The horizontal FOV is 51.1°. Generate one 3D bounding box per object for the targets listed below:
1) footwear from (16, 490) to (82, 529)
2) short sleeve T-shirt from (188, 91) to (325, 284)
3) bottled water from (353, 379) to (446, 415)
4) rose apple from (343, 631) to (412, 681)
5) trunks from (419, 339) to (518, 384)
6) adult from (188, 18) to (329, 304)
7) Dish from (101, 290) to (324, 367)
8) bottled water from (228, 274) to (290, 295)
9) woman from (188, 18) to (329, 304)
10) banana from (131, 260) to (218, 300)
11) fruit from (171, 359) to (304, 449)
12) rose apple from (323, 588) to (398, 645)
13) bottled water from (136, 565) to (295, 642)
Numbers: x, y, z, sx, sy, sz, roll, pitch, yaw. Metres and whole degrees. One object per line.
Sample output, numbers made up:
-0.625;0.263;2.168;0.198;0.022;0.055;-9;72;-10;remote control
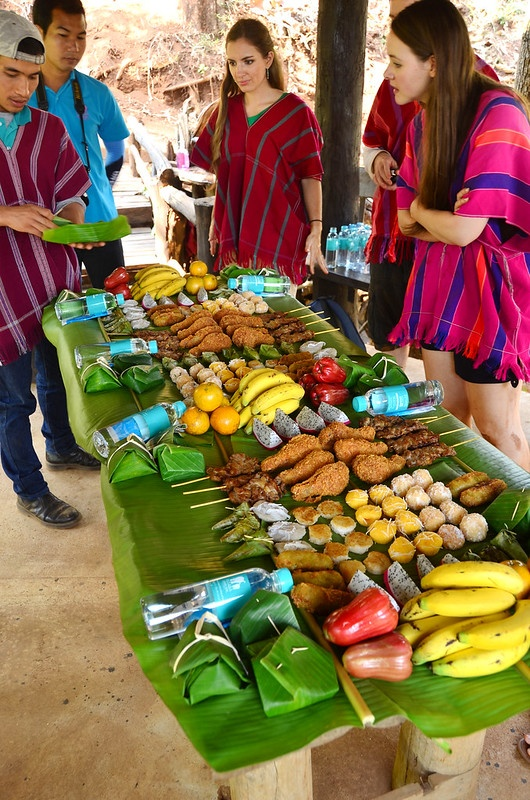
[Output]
-1.188;0.598;3.154;0.387;0.174;0.163;16;30;20;footwear
-0.112;-1.251;3.649;0.867;1.622;0.421;6;7;7;short sleeve T-shirt
0.430;-0.011;1.823;0.365;0.116;0.114;-8;10;-30;bottled water
0.179;0.422;0.906;0.107;0.065;0.063;-5;14;5;rose apple
0.862;-0.149;2.222;0.139;0.140;0.177;-16;12;-40;trunks
0.015;-1.477;3.465;0.849;1.480;0.480;9;24;10;adult
-0.212;-0.289;2.333;0.606;0.090;0.417;-1;27;-6;Dish
-0.024;-0.591;2.813;0.281;0.099;0.126;1;17;-9;bottled water
0.014;-1.477;3.465;0.846;1.480;0.480;9;24;10;woman
-0.460;-0.605;2.813;0.375;0.131;0.235;-12;22;-19;banana
-0.074;0.000;1.784;0.318;0.088;0.312;-10;24;-10;fruit
0.176;0.381;0.988;0.133;0.077;0.075;-18;24;-7;rose apple
-0.065;0.410;1.095;0.285;0.083;0.086;34;-2;-41;bottled water
